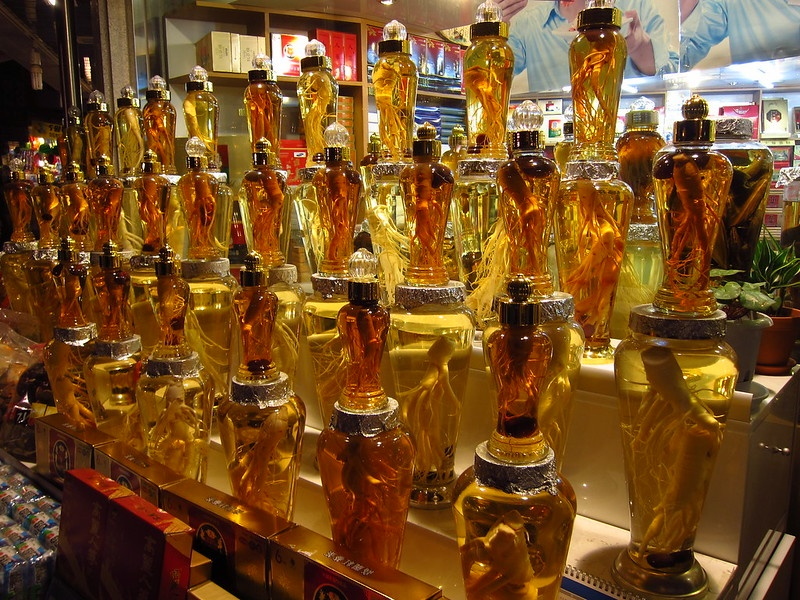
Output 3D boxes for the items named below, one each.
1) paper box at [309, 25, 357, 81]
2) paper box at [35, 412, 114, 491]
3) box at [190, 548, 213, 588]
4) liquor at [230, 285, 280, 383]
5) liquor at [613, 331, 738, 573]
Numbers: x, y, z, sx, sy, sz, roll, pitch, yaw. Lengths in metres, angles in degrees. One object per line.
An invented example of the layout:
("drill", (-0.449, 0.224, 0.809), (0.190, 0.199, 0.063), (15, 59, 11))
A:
("paper box", (-0.319, -1.351, 3.194), (0.187, 0.234, 0.248), (-14, 29, -32))
("paper box", (-0.510, 0.243, 0.894), (0.152, 0.092, 0.051), (11, 11, 32))
("box", (-0.230, 0.309, 0.653), (0.020, 0.031, 0.031), (16, -12, -31))
("liquor", (-0.196, 0.037, 0.763), (0.059, 0.114, 0.107), (-5, 14, -15))
("liquor", (0.335, 0.188, 0.717), (0.137, 0.296, 0.071), (5, 15, 21))
